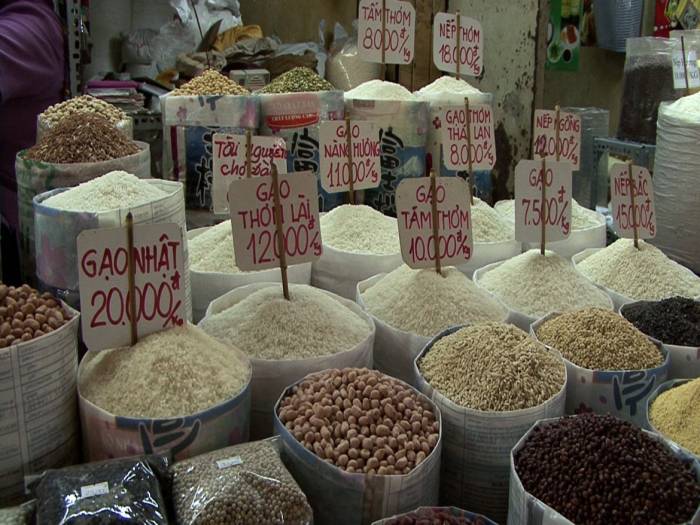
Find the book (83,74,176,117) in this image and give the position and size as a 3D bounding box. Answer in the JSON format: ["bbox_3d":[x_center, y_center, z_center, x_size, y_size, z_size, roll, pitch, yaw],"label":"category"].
[{"bbox_3d":[-1.729,-1.331,4.609,0.619,0.328,0.961,-8,17,-17],"label":"book"}]

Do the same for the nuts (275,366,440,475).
[{"bbox_3d":[0.020,0.454,1.703,0.483,0.173,0.318,-3,16,2],"label":"nuts"}]
